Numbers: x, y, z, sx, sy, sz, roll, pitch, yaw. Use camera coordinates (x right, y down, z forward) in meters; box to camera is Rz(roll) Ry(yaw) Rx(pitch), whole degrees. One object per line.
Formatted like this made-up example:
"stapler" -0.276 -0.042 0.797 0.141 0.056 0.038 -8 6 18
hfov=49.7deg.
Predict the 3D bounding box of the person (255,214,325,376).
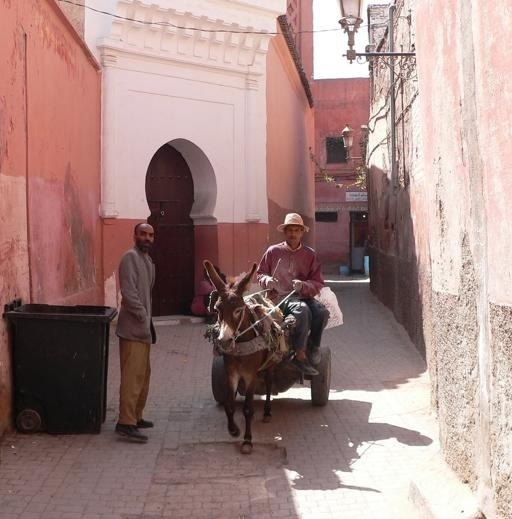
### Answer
"person" 0.378 0.289 5.803 0.581 1.880 0.667 6 13 22
